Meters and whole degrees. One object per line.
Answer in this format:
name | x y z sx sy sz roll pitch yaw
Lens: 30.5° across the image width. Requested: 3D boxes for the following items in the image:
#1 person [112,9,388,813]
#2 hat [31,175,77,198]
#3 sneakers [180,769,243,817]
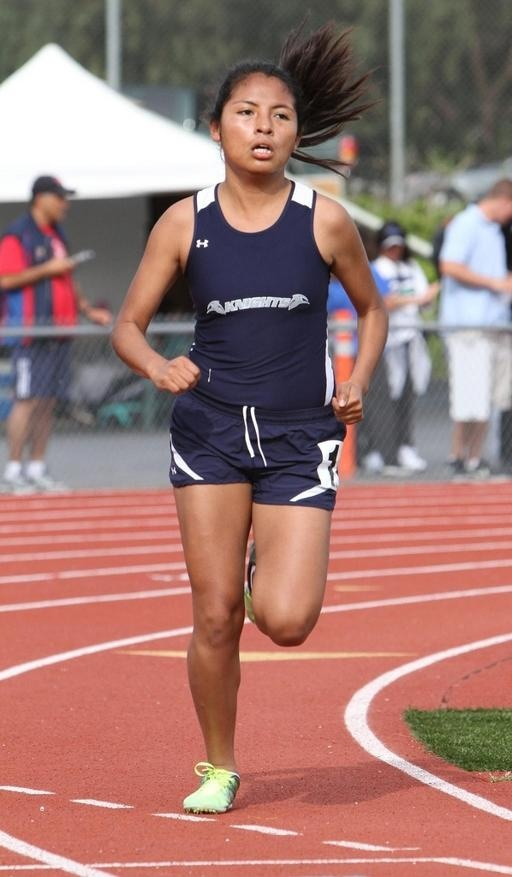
person | -0.012 -0.096 2.249 0.499 1.942 0.770 3 5 40
hat | -1.494 -1.827 6.925 0.308 0.154 0.188 -11 11 -4
sneakers | -0.099 0.825 2.223 0.070 0.059 0.144 1 2 13
